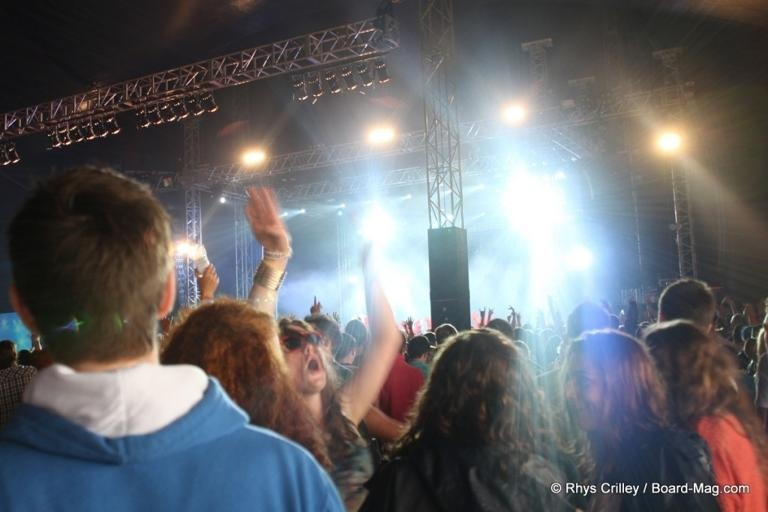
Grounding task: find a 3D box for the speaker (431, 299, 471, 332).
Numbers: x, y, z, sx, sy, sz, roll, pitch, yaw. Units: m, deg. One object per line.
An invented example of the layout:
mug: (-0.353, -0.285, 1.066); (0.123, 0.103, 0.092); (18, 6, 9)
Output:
speaker: (1.042, 0.902, 9.864); (0.645, 0.614, 0.464); (0, -5, 2)
